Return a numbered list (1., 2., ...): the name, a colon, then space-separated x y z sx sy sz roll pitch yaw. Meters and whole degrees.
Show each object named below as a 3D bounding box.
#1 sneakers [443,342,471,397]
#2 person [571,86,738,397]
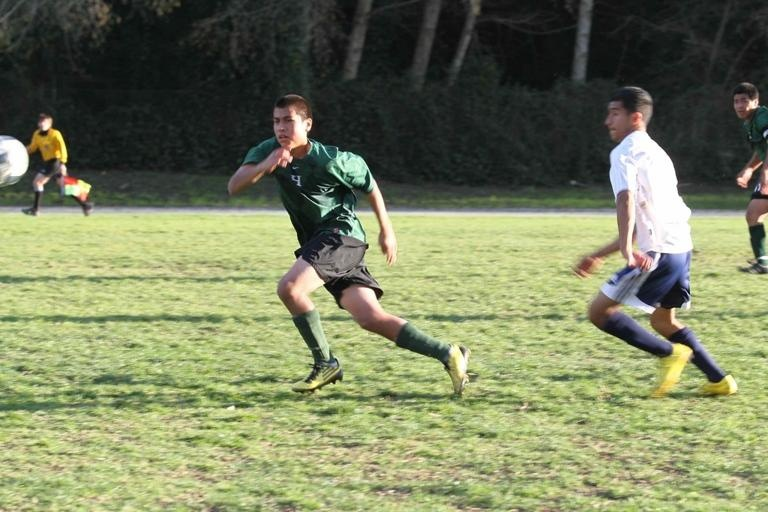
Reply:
1. sneakers: 0.613 0.950 7.928 0.290 0.408 0.177 -16 19 1
2. person: 2.284 -0.139 7.936 1.302 2.585 0.763 3 9 13
